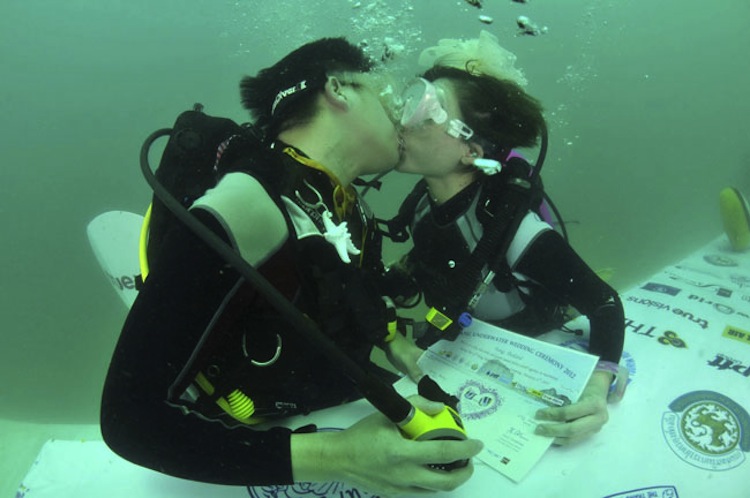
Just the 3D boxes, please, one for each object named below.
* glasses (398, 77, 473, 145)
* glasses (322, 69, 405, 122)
[{"bbox_3d":[0.230,-0.522,2.839,0.269,0.132,0.159,23,10,-19],"label":"glasses"},{"bbox_3d":[-0.025,-0.567,2.701,0.163,0.093,0.231,18,8,2],"label":"glasses"}]
